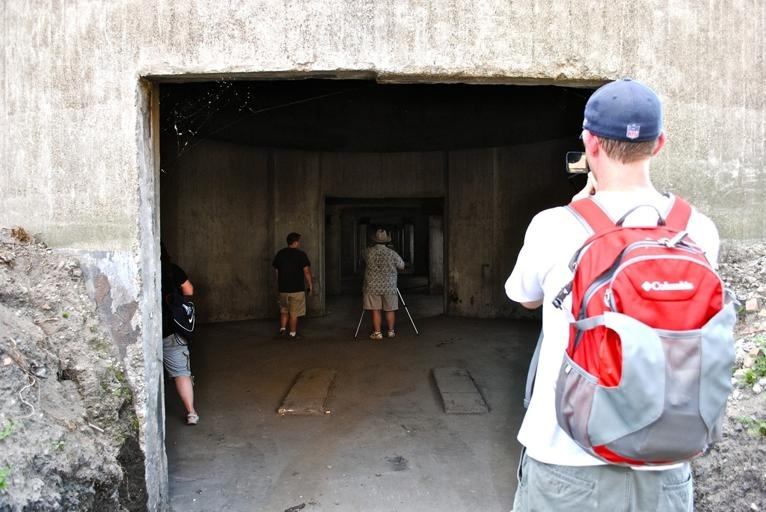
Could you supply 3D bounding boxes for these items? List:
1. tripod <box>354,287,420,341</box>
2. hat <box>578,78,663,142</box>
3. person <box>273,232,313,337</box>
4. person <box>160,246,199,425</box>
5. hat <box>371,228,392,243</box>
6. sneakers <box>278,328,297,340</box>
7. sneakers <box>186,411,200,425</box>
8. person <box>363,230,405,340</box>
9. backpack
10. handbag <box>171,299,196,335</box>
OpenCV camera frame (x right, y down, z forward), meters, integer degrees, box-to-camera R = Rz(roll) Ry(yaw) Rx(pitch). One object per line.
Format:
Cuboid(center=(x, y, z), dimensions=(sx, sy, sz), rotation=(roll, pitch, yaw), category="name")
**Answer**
Cuboid(center=(0.086, 0.875, 11.316), dimensions=(0.788, 1.189, 0.750), rotation=(-1, -7, -2), category="tripod")
Cuboid(center=(1.188, -0.714, 3.636), dimensions=(0.275, 0.217, 0.366), rotation=(4, 23, 4), category="hat")
Cuboid(center=(-1.295, 0.428, 10.519), dimensions=(0.528, 1.490, 0.675), rotation=(-1, 8, -8), category="person")
Cuboid(center=(-1.893, 0.720, 6.838), dimensions=(0.296, 1.706, 0.691), rotation=(-2, 8, -15), category="person")
Cuboid(center=(-0.029, -0.261, 10.092), dimensions=(0.198, 0.194, 0.398), rotation=(1, 8, 10), category="hat")
Cuboid(center=(-1.376, 1.135, 10.570), dimensions=(0.295, 0.131, 0.120), rotation=(3, 7, 5), category="sneakers")
Cuboid(center=(-1.785, 1.524, 6.887), dimensions=(0.087, 0.086, 0.211), rotation=(1, -13, -12), category="sneakers")
Cuboid(center=(-0.006, 0.382, 10.699), dimensions=(0.548, 1.637, 1.559), rotation=(-1, 8, -2), category="person")
Cuboid(center=(1.268, 0.434, 3.559), dimensions=(0.821, 1.126, 0.315), rotation=(1, 8, 13), category="backpack")
Cuboid(center=(-1.771, 0.546, 6.621), dimensions=(0.141, 0.357, 0.283), rotation=(2, 8, 20), category="handbag")
